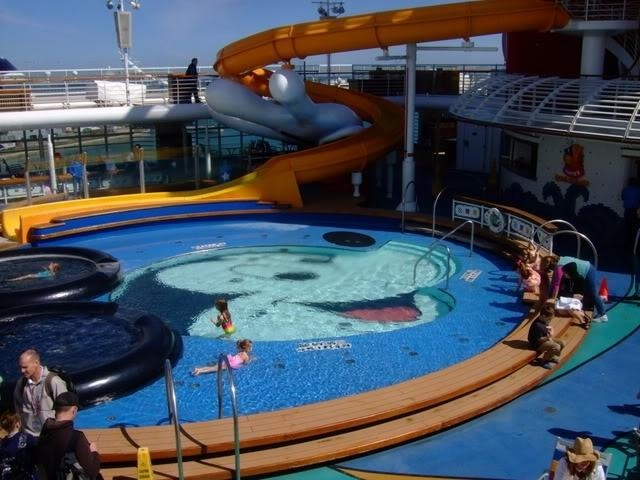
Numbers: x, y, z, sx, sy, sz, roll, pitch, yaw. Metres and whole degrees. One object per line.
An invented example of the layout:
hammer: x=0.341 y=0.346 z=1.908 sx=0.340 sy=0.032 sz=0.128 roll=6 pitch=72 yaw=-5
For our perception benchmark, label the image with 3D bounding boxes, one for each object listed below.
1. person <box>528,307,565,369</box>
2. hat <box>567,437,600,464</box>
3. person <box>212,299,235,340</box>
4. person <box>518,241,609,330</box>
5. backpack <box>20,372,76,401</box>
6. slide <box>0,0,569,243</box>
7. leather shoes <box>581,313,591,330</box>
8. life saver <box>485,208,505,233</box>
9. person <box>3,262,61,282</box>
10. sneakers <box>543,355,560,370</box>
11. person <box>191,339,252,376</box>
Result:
person: x=3.075 y=1.285 z=6.111 sx=0.448 sy=0.800 sz=0.413 roll=1 pitch=15 yaw=25
hat: x=2.089 y=1.641 z=3.594 sx=0.211 sy=0.080 sz=0.234 roll=-4 pitch=-4 yaw=22
person: x=-1.589 y=1.228 z=7.417 sx=0.280 sy=0.605 sz=0.411 roll=-11 pitch=14 yaw=-24
person: x=4.144 y=0.784 z=7.365 sx=1.038 sy=1.135 sz=0.702 roll=2 pitch=15 yaw=27
backpack: x=-2.384 y=1.310 z=4.029 sx=0.324 sy=0.229 sz=0.195 roll=-16 pitch=-8 yaw=22
slide: x=-0.825 y=-3.195 z=13.812 sx=14.541 sy=3.946 sz=6.497 roll=-4 pitch=29 yaw=8
leather shoes: x=4.253 y=1.266 z=7.168 sx=0.124 sy=0.208 sz=0.442 roll=4 pitch=13 yaw=33
life saver: x=4.069 y=-0.428 z=10.355 sx=0.401 sy=0.618 sz=0.546 roll=-3 pitch=12 yaw=9
person: x=-6.167 y=0.695 z=9.658 sx=0.938 sy=0.250 sz=0.360 roll=-9 pitch=7 yaw=4
sneakers: x=3.140 y=1.627 z=6.105 sx=0.149 sy=0.141 sz=0.297 roll=6 pitch=14 yaw=39
person: x=-1.308 y=1.669 z=6.337 sx=1.024 sy=0.318 sz=0.258 roll=-13 pitch=13 yaw=-35
